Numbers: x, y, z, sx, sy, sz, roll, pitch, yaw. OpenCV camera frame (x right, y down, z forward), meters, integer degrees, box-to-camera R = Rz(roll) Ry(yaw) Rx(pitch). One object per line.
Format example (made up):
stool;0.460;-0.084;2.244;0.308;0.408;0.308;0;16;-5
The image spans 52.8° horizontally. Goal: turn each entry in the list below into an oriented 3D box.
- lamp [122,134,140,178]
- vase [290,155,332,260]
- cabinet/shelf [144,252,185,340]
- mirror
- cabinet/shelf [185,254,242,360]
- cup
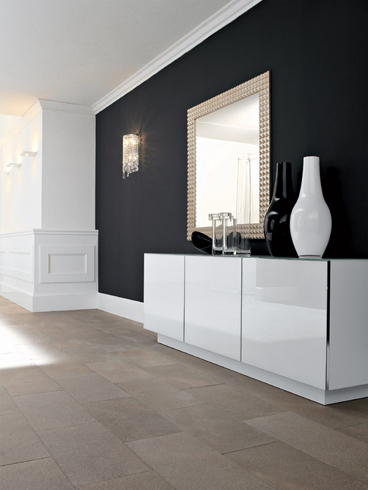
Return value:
lamp;-0.558;-0.991;3.979;0.179;0.377;0.134;1;-4;-5
vase;0.595;-0.193;1.740;0.173;0.514;0.203;0;-4;8
cabinet/shelf;-0.134;0.355;2.641;0.245;0.616;0.520;2;-4;-27
mirror;0.302;-0.725;2.644;0.683;0.925;0.027;-12;-25;25
cabinet/shelf;0.178;0.351;2.137;0.157;0.596;0.521;1;-3;-25
cup;0.303;-0.263;2.424;0.271;0.668;0.355;-1;-4;11
